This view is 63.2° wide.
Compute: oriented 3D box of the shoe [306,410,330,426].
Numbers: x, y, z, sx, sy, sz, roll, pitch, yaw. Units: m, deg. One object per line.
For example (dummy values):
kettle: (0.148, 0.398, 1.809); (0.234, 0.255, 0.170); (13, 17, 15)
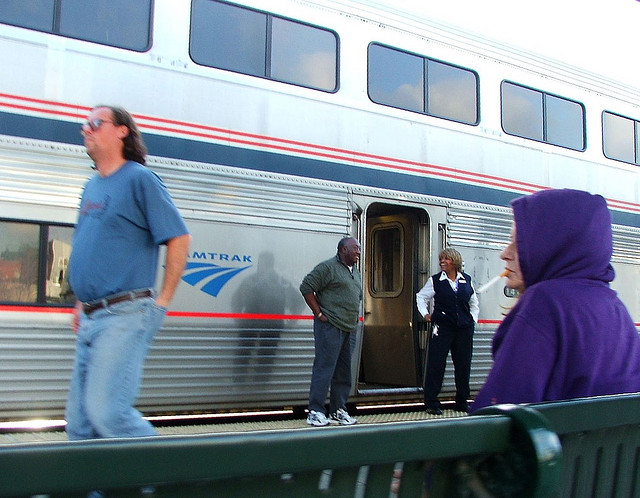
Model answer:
shoe: (-0.025, 1.764, 5.416); (0.264, 0.127, 0.109); (-9, -13, 41)

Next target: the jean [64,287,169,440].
jean: (-1.011, 0.569, 2.561); (0.419, 0.757, 0.385); (6, 8, -17)

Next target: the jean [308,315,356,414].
jean: (0.156, 1.262, 5.593); (0.543, 1.033, 0.418); (6, 8, -18)
